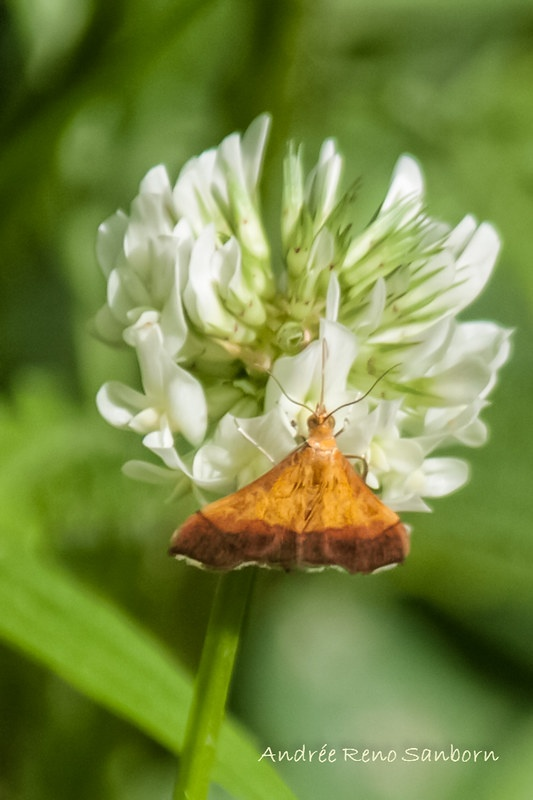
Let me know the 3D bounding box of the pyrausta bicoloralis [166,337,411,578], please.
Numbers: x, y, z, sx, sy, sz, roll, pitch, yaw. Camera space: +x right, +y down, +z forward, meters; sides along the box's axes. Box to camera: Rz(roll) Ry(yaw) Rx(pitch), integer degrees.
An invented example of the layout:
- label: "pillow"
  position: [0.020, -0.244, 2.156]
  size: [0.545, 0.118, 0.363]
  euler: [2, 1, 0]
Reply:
- label: "pyrausta bicoloralis"
  position: [0.024, 0.065, 0.766]
  size: [0.205, 0.133, 0.209]
  euler: [-4, 59, 8]

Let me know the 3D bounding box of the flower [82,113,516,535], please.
- label: "flower"
  position: [-0.035, -0.038, 0.962]
  size: [0.440, 0.332, 0.445]
  euler: [-36, 88, -32]
